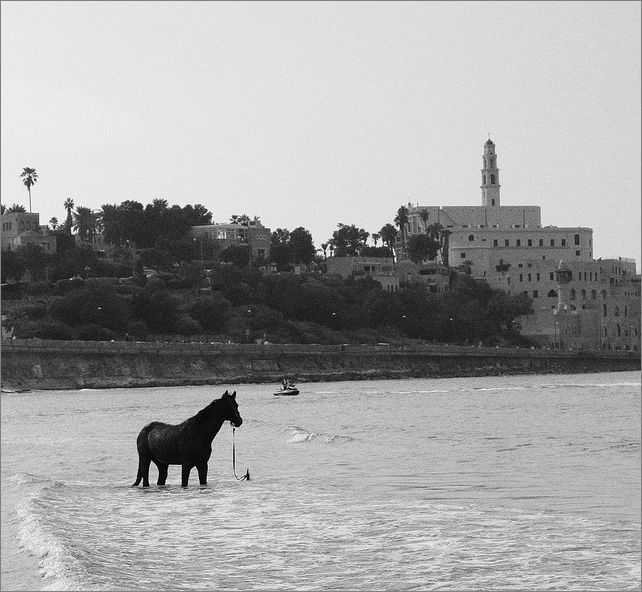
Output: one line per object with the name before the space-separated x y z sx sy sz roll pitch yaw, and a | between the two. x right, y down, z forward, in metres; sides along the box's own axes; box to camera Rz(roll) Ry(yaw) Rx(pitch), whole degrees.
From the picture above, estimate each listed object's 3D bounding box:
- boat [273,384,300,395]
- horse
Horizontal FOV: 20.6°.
boat | -2.046 5.406 103.682 1.026 0.616 1.507 2 0 -12
horse | -3.213 3.446 42.167 2.526 2.232 1.162 -3 -4 33
